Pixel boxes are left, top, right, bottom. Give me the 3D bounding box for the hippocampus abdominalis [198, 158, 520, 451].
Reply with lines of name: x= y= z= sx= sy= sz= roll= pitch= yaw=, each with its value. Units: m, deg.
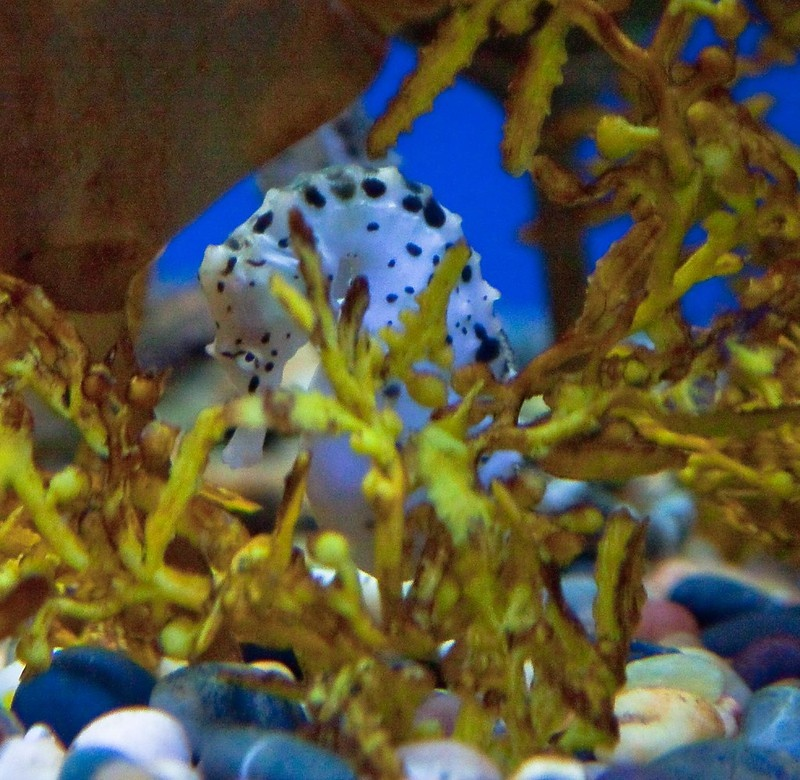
hippocampus abdominalis: x=-0.035 y=-0.070 z=1.934 sx=0.312 sy=0.271 sz=0.230 roll=17 pitch=27 yaw=4
